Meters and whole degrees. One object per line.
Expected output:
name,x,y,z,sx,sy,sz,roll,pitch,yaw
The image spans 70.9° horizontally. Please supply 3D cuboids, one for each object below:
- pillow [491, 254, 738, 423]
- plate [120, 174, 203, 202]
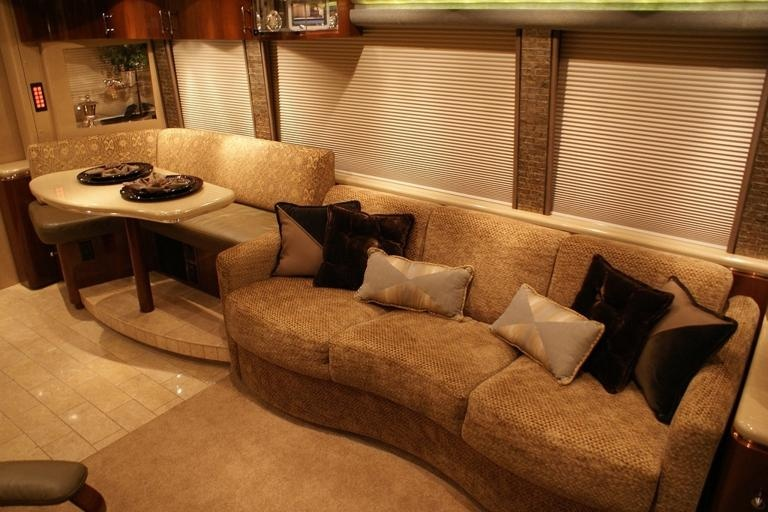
pillow,1.293,0.418,2.738,0.731,0.575,0.409,20,31,38
plate,-1.465,-0.461,3.632,0.325,0.082,0.315,16,25,36
